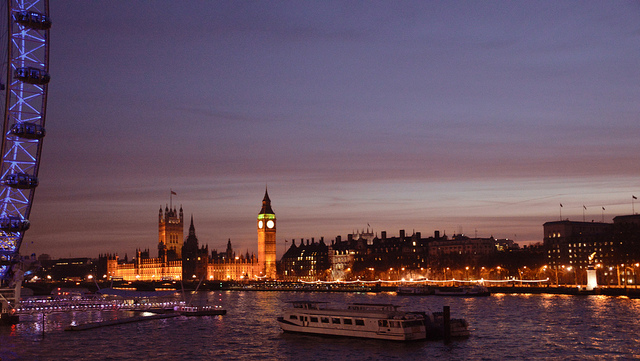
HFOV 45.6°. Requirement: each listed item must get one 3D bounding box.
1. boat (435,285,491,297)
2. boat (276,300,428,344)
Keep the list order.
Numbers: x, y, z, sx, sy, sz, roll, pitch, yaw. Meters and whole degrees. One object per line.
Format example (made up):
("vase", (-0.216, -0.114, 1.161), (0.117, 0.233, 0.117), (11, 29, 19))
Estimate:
("boat", (36.073, 28.157, 194.691), (5.193, 2.759, 16.129), (3, -6, -36))
("boat", (5.192, 21.530, 116.480), (21.490, 5.374, 3.144), (-3, -5, 24))
